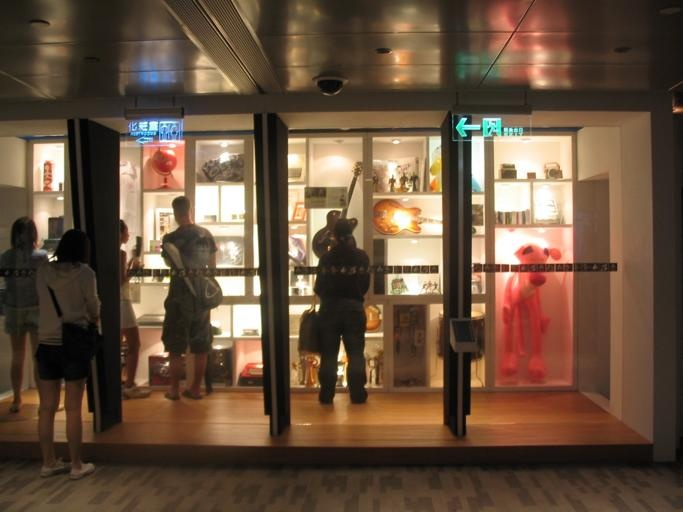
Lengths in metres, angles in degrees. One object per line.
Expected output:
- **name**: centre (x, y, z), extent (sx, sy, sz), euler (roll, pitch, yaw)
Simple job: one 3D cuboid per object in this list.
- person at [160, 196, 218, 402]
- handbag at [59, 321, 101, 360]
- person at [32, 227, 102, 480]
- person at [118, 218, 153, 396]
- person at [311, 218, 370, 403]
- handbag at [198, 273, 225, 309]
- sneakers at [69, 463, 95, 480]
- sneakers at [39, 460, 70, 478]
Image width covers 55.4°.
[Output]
- **person**: centre (-1.585, 0.445, 6.693), extent (0.624, 2.103, 0.562), euler (-2, 3, 2)
- **handbag**: centre (-2.163, 0.695, 5.376), extent (0.307, 0.307, 0.257), euler (0, -1, -18)
- **person**: centre (-2.307, 0.825, 5.470), extent (0.536, 2.084, 0.287), euler (-3, 3, -17)
- **person**: centre (-2.198, 0.554, 6.807), extent (0.272, 1.872, 0.662), euler (-3, 3, -17)
- **person**: centre (0.013, 0.580, 6.578), extent (0.560, 1.875, 0.335), euler (-2, 3, -2)
- **handbag**: centre (-1.342, 0.354, 6.639), extent (0.226, 0.324, 0.115), euler (-12, 12, -31)
- **sneakers**: centre (-2.209, 1.816, 5.508), extent (0.092, 0.097, 0.230), euler (0, 2, 6)
- **sneakers**: centre (-2.441, 1.794, 5.579), extent (0.278, 0.111, 0.102), euler (-4, 2, -40)
